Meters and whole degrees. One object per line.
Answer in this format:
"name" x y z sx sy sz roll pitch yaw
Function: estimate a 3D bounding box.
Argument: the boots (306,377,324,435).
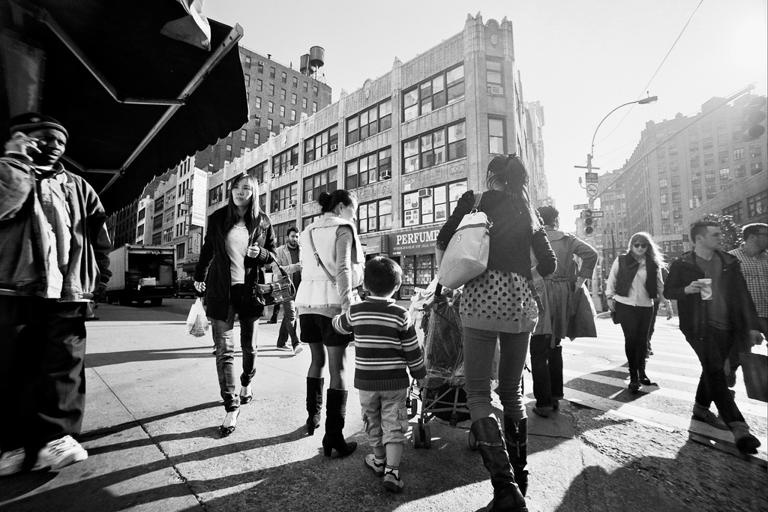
"boots" -0.829 1.728 5.746 0.179 0.615 0.268 1 10 2

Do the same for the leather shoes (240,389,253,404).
"leather shoes" -1.735 1.778 6.194 0.127 0.228 0.217 2 6 -6

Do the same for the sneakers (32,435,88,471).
"sneakers" -3.283 1.996 4.980 0.427 0.213 0.232 -8 14 -35

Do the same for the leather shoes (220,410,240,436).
"leather shoes" -1.790 1.917 5.710 0.105 0.095 0.367 21 27 -7

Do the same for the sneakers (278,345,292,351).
"sneakers" -2.001 1.831 9.830 0.234 0.107 0.095 -2 -1 -8

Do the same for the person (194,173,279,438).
"person" -1.891 0.515 6.129 0.842 3.003 1.300 2 10 6

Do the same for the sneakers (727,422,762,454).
"sneakers" 4.051 2.037 5.538 0.308 0.254 0.253 9 13 38

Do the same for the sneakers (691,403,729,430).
"sneakers" 4.068 2.012 6.167 0.155 0.177 0.390 9 -8 -35

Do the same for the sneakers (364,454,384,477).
"sneakers" -0.101 2.123 5.070 0.112 0.110 0.242 -5 22 -38

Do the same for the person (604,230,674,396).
"person" 3.900 0.774 7.520 0.863 2.363 0.771 3 -5 24

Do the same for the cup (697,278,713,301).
"cup" 3.981 0.407 6.101 0.185 0.261 0.099 1 10 -1

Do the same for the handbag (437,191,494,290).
"handbag" 0.777 -0.064 4.872 0.470 0.741 0.276 1 10 2

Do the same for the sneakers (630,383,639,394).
"sneakers" 3.667 1.937 7.243 0.130 0.101 0.122 -5 -24 -4
